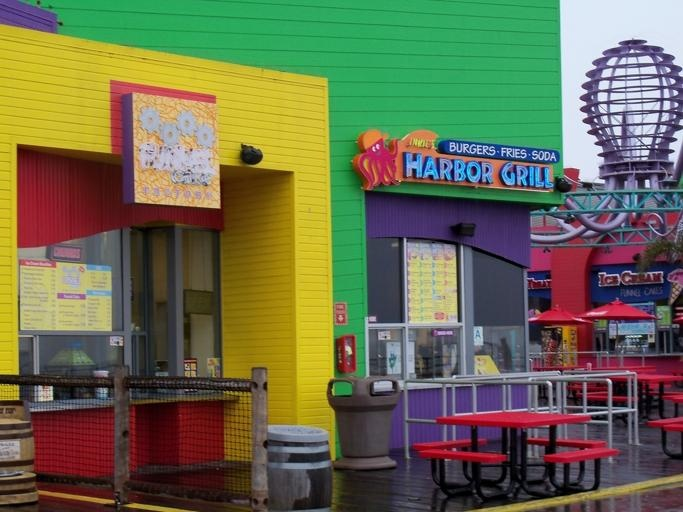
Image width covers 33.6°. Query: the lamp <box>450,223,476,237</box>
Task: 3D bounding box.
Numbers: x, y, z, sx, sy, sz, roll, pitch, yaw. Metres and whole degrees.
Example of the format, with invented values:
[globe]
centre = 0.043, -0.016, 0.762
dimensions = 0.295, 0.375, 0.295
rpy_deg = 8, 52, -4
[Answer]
[lamp]
centre = 2.305, -0.450, 18.929
dimensions = 0.312, 0.177, 0.295
rpy_deg = 1, 3, -26
